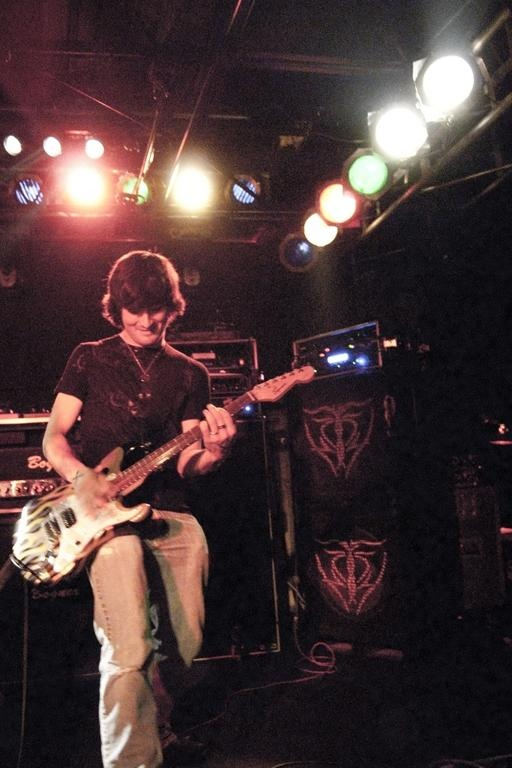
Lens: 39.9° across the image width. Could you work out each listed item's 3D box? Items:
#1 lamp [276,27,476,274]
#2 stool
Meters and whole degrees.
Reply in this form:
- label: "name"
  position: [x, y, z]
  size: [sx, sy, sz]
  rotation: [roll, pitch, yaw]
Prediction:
- label: "lamp"
  position: [0.712, -1.348, 4.102]
  size: [1.248, 0.441, 0.341]
  rotation: [-49, 11, 37]
- label: "stool"
  position: [-0.721, 1.195, 2.900]
  size: [0.136, 0.860, 0.104]
  rotation: [2, -13, 24]
